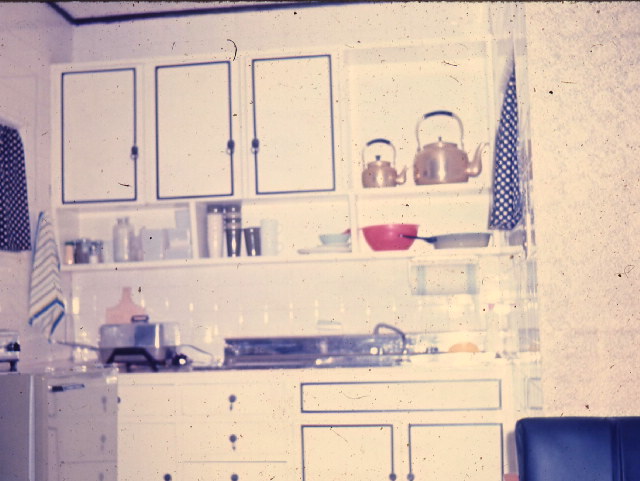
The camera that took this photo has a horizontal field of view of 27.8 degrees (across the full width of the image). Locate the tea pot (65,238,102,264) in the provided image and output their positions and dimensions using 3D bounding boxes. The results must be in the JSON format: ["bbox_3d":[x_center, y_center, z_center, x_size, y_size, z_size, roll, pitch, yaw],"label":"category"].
[{"bbox_3d":[-1.396,0.065,7.638,0.225,0.134,0.158,-1,-15,-2],"label":"tea pot"}]

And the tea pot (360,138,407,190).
[{"bbox_3d":[0.372,-0.452,7.574,0.269,0.333,0.225,0,-6,3],"label":"tea pot"}]

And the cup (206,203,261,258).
[{"bbox_3d":[-0.519,-0.054,7.560,0.279,0.279,0.115,1,-8,-8],"label":"cup"}]

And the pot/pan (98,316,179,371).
[{"bbox_3d":[-1.074,0.596,7.586,0.413,0.321,0.258,-1,-4,9],"label":"pot/pan"}]

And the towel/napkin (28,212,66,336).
[{"bbox_3d":[-1.580,0.197,7.619,0.126,0.725,0.274,-2,-6,25],"label":"towel/napkin"}]

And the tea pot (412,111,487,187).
[{"bbox_3d":[0.738,-0.540,7.527,0.405,0.407,0.282,-3,4,12],"label":"tea pot"}]

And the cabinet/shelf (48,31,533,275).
[{"bbox_3d":[-0.175,-0.499,7.613,2.793,1.323,0.353,0,-6,6],"label":"cabinet/shelf"}]

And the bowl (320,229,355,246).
[{"bbox_3d":[0.088,-0.006,7.513,0.116,0.056,0.118,0,-4,0],"label":"bowl"}]
